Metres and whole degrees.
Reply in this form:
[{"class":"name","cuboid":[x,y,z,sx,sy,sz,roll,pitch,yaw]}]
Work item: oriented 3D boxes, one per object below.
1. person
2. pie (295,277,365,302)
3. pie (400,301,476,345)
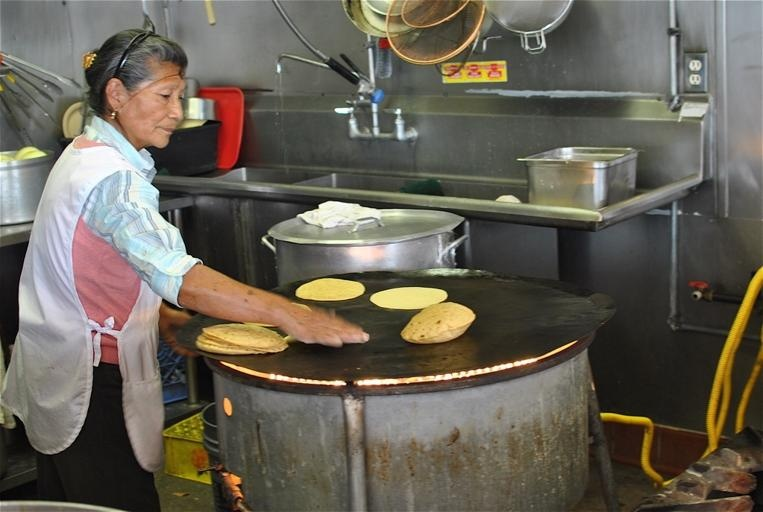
[{"class":"person","cuboid":[-0.711,0.088,1.756,1.058,1.473,0.397,4,13,26]},{"class":"pie","cuboid":[-0.170,0.112,1.969,0.116,0.005,0.115,-12,20,-35]},{"class":"pie","cuboid":[0.162,0.184,1.664,0.165,0.083,0.189,4,10,26]}]
